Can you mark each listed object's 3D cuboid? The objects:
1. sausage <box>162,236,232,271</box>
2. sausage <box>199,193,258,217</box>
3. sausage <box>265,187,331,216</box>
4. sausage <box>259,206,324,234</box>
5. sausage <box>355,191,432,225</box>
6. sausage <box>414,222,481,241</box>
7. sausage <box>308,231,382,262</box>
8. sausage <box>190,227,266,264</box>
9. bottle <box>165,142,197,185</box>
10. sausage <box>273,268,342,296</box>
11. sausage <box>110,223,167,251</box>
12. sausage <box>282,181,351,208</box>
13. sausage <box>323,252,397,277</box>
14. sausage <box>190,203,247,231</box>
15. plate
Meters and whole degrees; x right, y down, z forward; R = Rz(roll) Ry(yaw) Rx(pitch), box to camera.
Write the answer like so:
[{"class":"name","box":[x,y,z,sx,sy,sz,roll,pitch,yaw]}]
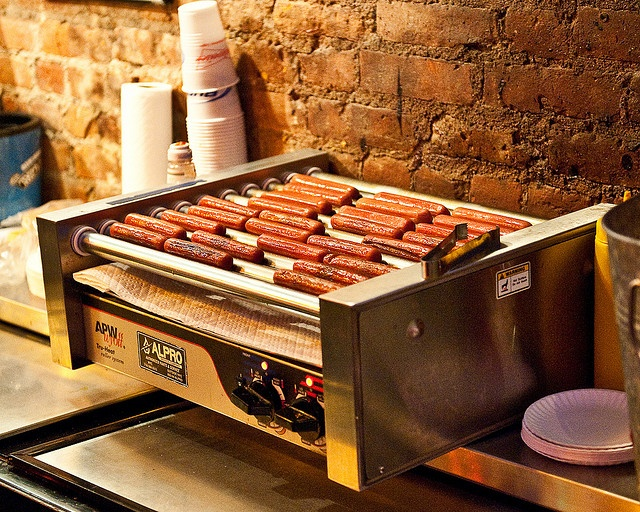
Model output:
[{"class":"sausage","box":[-0.179,-0.003,0.921,0.060,0.016,0.063,17,7,23]},{"class":"sausage","box":[-0.164,-0.103,1.115,0.042,0.038,0.145,-9,18,-37]},{"class":"sausage","box":[-0.033,-0.099,1.112,0.152,0.040,0.043,18,24,34]},{"class":"sausage","box":[-0.046,-0.057,1.016,0.130,0.031,0.038,14,-7,37]},{"class":"sausage","box":[0.122,-0.078,1.044,0.148,0.035,0.044,15,17,38]},{"class":"sausage","box":[0.178,-0.039,0.963,0.061,0.016,0.034,11,26,39]},{"class":"sausage","box":[0.035,-0.013,0.906,0.126,0.031,0.031,15,42,37]},{"class":"sausage","box":[-0.140,-0.014,0.942,0.151,0.036,0.043,21,36,36]},{"class":"bottle","box":[-0.299,-0.199,1.351,0.050,0.083,0.058,-16,25,-33]},{"class":"sausage","box":[-0.022,0.024,0.835,0.109,0.029,0.032,15,9,42]},{"class":"sausage","box":[-0.288,-0.030,0.992,0.137,0.037,0.039,15,-1,39]},{"class":"sausage","box":[-0.014,-0.135,1.177,0.046,0.043,0.165,-20,30,-41]},{"class":"sausage","box":[0.050,0.009,0.858,0.109,0.027,0.036,16,1,37]},{"class":"sausage","box":[-0.170,-0.066,1.061,0.133,0.038,0.039,16,4,38]},{"class":"plate","box":[0.321,0.214,0.787,0.126,0.051,0.125,5,21,15]}]
